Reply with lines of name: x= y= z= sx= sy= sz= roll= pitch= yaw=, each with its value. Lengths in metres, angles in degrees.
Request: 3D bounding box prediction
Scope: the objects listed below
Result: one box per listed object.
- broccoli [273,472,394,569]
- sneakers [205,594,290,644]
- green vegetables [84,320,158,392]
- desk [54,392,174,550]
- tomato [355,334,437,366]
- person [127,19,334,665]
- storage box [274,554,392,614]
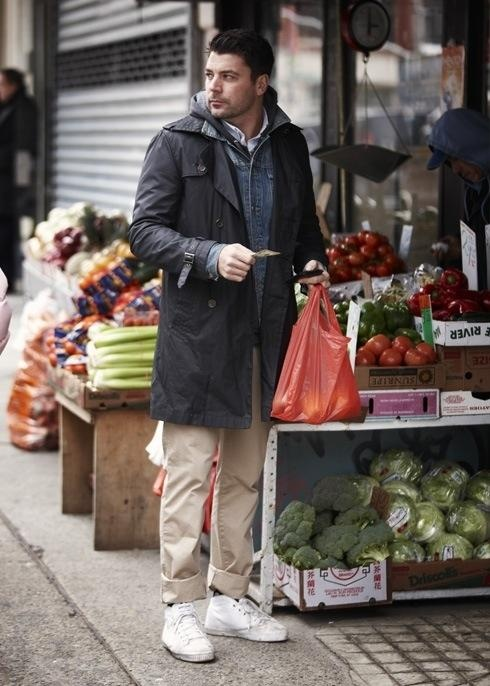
broccoli: x=0.319 y=0.653 z=2.485 sx=0.293 sy=0.170 sz=0.354 roll=-23 pitch=-3 yaw=6
sneakers: x=0.026 y=0.883 z=2.238 sx=0.396 sy=0.124 sz=0.170 roll=1 pitch=2 yaw=20
green vegetables: x=-0.584 y=0.049 z=3.247 sx=0.317 sy=0.313 sz=0.368 roll=-11 pitch=19 yaw=-38
desk: x=-0.702 y=0.703 z=3.581 sx=0.614 sy=0.993 sz=1.228 roll=1 pitch=-1 yaw=-14
tomato: x=0.584 y=0.004 z=2.614 sx=0.292 sy=0.116 sz=0.249 roll=-2 pitch=12 yaw=0
person: x=0.002 y=-0.011 z=2.032 sx=0.661 sy=1.792 sz=0.557 roll=2 pitch=-3 yaw=-44
storage box: x=0.311 y=0.868 z=2.465 sx=0.361 sy=0.121 sz=0.351 roll=1 pitch=-10 yaw=-18
